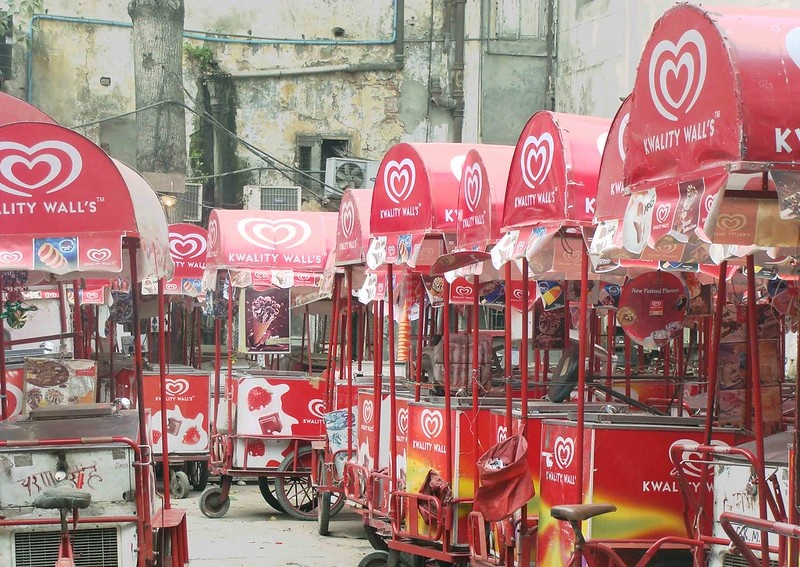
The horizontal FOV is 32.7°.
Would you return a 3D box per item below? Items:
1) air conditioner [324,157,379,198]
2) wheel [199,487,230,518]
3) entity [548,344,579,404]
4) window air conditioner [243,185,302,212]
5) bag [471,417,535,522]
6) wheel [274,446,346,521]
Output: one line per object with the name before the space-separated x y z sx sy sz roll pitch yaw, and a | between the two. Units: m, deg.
air conditioner | -0.861 -1.938 26.564 0.926 0.836 0.528 5 -29 -4
wheel | -2.334 2.796 17.231 0.326 0.379 0.135 1 -9 -18
entity | 1.619 0.864 13.396 0.295 0.609 0.948 -1 -3 7
window air conditioner | -2.434 -1.691 26.334 1.130 0.506 0.505 0 -3 -9
bag | 0.925 1.729 12.286 0.542 0.765 0.486 -6 0 40
wheel | -1.209 2.540 17.410 0.777 0.946 2.230 0 -4 -11
